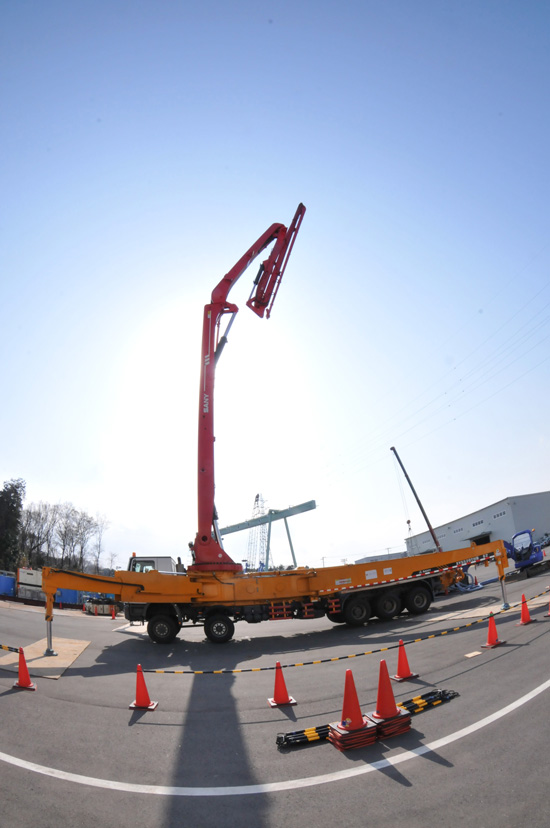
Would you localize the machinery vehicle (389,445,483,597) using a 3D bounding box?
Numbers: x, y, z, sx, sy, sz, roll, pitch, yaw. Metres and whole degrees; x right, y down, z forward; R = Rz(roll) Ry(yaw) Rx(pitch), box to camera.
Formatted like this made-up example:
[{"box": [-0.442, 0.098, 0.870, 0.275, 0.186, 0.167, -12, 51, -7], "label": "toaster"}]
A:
[{"box": [7.226, 4.988, 25.579, 1.479, 7.128, 2.321, -7, -23, -44], "label": "machinery vehicle"}]

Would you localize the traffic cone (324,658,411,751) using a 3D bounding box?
[{"box": [1.033, 3.217, 5.814, 0.959, 0.818, 0.465, 9, -12, -24], "label": "traffic cone"}]

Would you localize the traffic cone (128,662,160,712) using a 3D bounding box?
[{"box": [-1.884, 3.859, 7.609, 0.359, 0.676, 1.309, 5, -12, -11], "label": "traffic cone"}]
